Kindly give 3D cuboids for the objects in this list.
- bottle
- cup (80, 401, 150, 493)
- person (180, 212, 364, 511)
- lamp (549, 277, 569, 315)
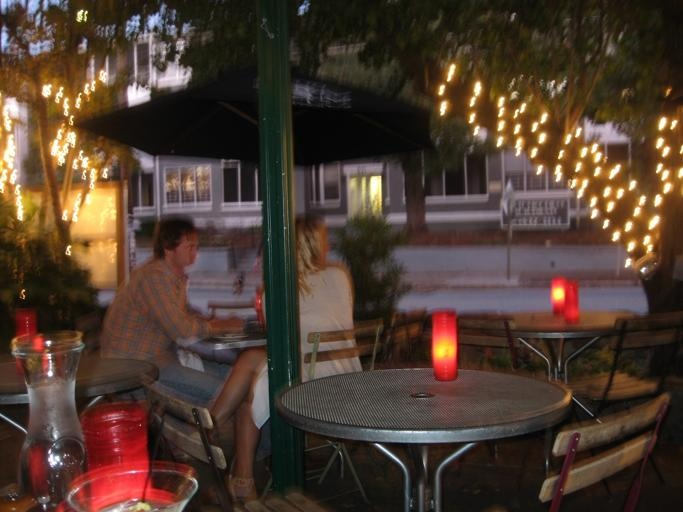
[{"bbox_3d":[-0.903,0.511,2.090,0.202,0.467,0.292,-3,5,-26],"label":"bottle"},{"bbox_3d":[-0.700,0.602,2.095,0.192,0.342,0.192,1,7,0],"label":"cup"},{"bbox_3d":[-0.393,0.655,4.208,0.954,2.002,0.650,7,11,17],"label":"person"},{"bbox_3d":[1.572,0.283,4.797,0.106,0.297,0.112,-8,11,-10],"label":"lamp"}]
